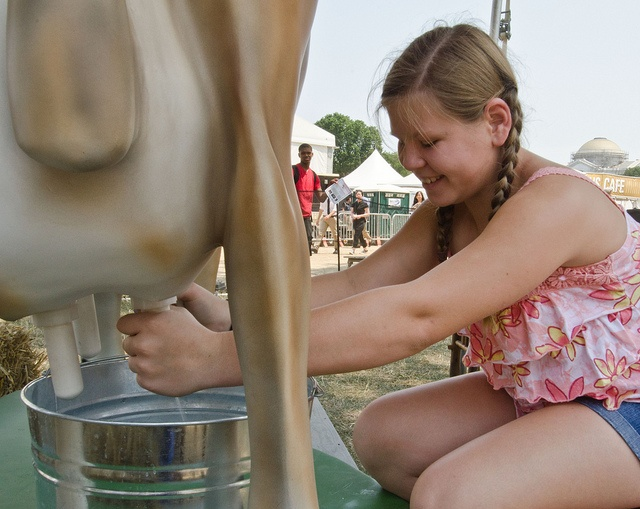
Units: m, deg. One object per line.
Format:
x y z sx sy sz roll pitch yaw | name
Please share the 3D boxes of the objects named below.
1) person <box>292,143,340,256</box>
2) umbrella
-0.153 -0.421 5.446 0.401 1.281 0.354 2 9 -5 | person
1.552 -1.360 13.332 0.977 1.423 1.034 -16 3 18 | umbrella
